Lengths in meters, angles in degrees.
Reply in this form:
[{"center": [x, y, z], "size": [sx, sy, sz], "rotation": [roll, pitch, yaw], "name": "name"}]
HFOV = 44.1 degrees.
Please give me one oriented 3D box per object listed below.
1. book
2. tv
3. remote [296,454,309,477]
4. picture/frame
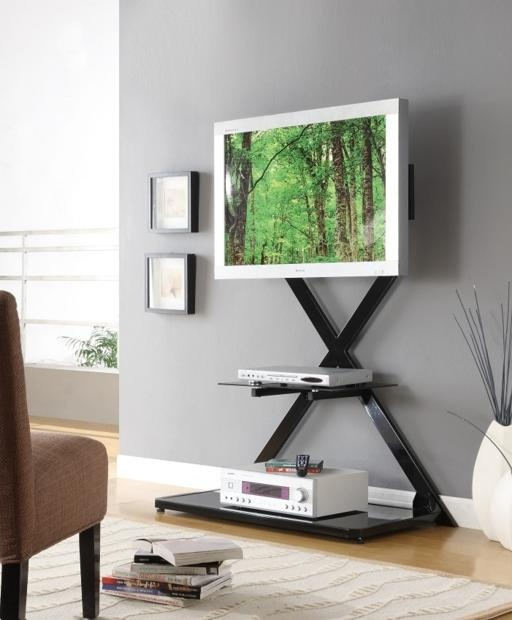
[{"center": [-0.211, 0.687, 1.785], "size": [0.226, 0.097, 0.259], "rotation": [-4, -7, 30], "name": "book"}, {"center": [0.215, -0.540, 3.013], "size": [1.086, 0.804, 0.083], "rotation": [4, 4, 39], "name": "tv"}, {"center": [0.183, 0.630, 2.534], "size": [0.050, 0.096, 0.046], "rotation": [2, 3, 11], "name": "remote"}, {"center": [-0.504, -0.391, 3.723], "size": [0.359, 0.822, 0.103], "rotation": [4, 4, 34], "name": "picture/frame"}]
